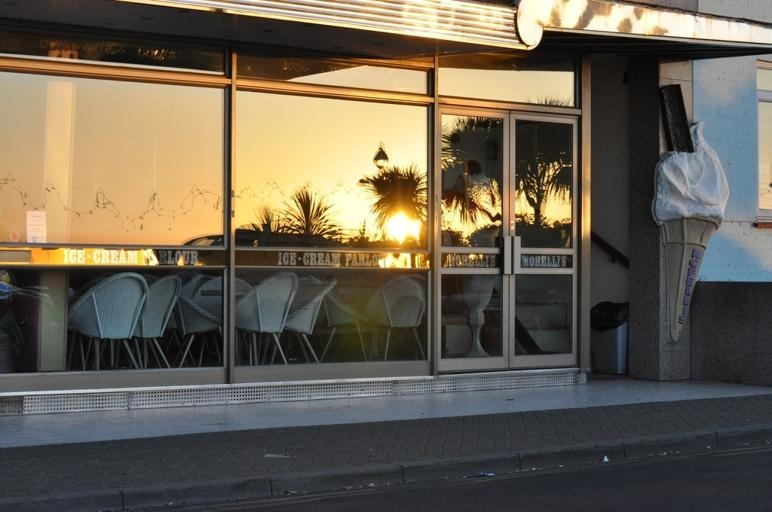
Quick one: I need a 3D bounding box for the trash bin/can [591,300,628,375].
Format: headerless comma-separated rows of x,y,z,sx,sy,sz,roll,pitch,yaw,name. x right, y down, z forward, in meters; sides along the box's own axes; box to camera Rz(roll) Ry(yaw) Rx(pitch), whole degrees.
3.558,1.302,15.845,0.496,0.540,1.156,-39,-1,-1,trash bin/can

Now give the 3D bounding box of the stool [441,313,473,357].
1.001,1.114,13.909,0.596,0.585,0.321,-1,4,-13,stool
